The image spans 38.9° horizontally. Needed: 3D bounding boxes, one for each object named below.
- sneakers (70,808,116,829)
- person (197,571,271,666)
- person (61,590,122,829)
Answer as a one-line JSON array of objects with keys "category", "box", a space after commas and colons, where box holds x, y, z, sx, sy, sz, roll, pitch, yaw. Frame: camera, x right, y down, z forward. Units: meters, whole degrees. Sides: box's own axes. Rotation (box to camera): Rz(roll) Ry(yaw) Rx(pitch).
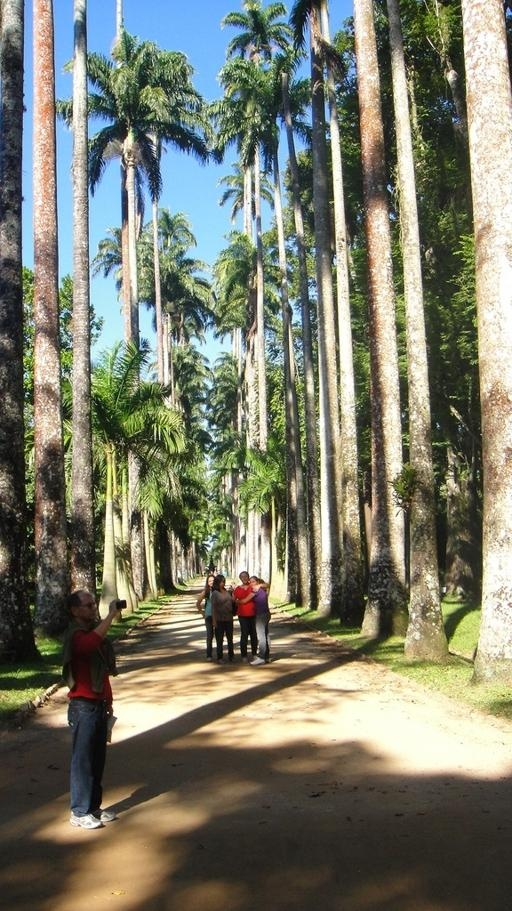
[{"category": "sneakers", "box": [-1.080, 2.374, 4.768, 0.257, 0.136, 0.130, 0, -2, -5]}, {"category": "person", "box": [-0.371, 3.214, 14.538, 0.948, 1.741, 1.894, 4, -10, -32]}, {"category": "person", "box": [-1.125, 1.687, 4.922, 0.367, 1.523, 0.650, 1, -9, -16]}]
